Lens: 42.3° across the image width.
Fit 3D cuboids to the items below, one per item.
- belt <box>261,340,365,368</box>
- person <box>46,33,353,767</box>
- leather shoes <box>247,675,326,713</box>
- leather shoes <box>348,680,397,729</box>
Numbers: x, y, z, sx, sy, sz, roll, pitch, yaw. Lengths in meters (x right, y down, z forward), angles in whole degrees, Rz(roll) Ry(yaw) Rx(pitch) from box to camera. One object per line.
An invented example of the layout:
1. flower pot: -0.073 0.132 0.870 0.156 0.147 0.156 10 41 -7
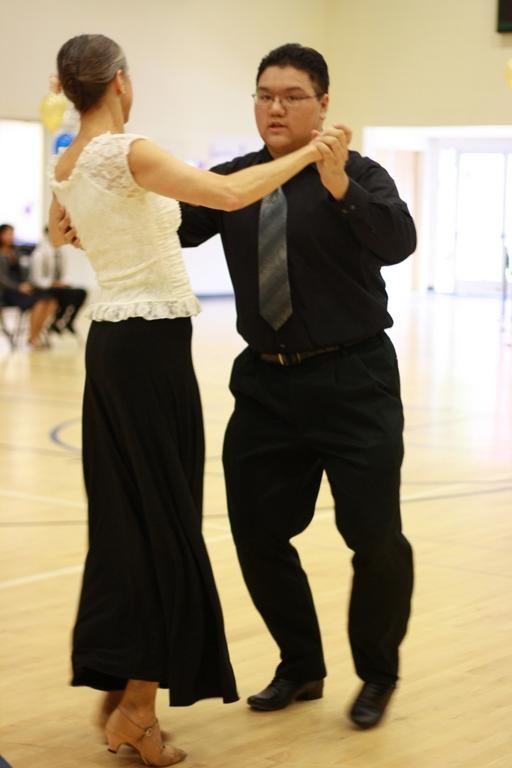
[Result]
1. belt: 0.122 -0.066 1.597 0.123 0.036 0.104 -5 -11 -15
2. person: -0.183 0.061 1.386 0.561 1.549 0.421 0 1 11
3. leather shoes: 0.078 0.806 1.770 0.227 0.081 0.074 0 -5 -25
4. leather shoes: 0.273 0.788 1.616 0.048 0.052 0.141 -1 14 22
